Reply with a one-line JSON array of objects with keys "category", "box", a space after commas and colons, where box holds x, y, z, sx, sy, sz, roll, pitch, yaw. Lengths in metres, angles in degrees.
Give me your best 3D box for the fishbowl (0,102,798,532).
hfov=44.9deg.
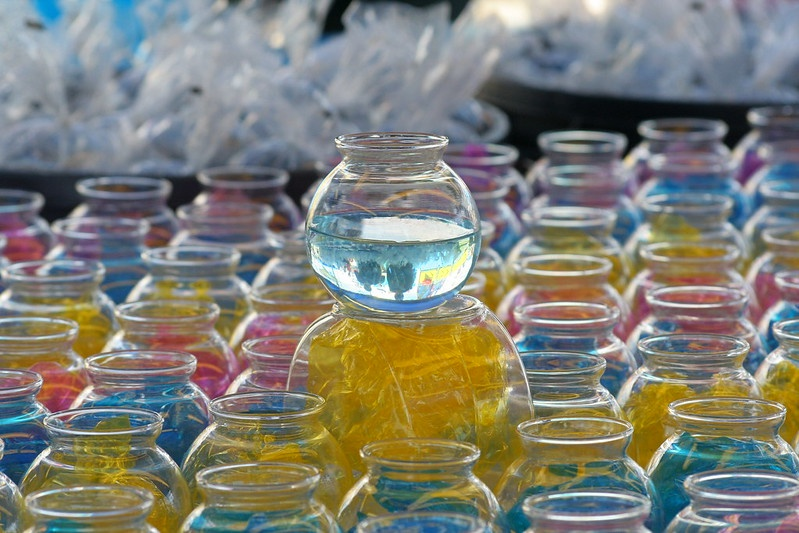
[{"category": "fishbowl", "box": [0.049, 0.074, 1.387, 0.461, 0.502, 0.357, 13, 27, 30]}]
